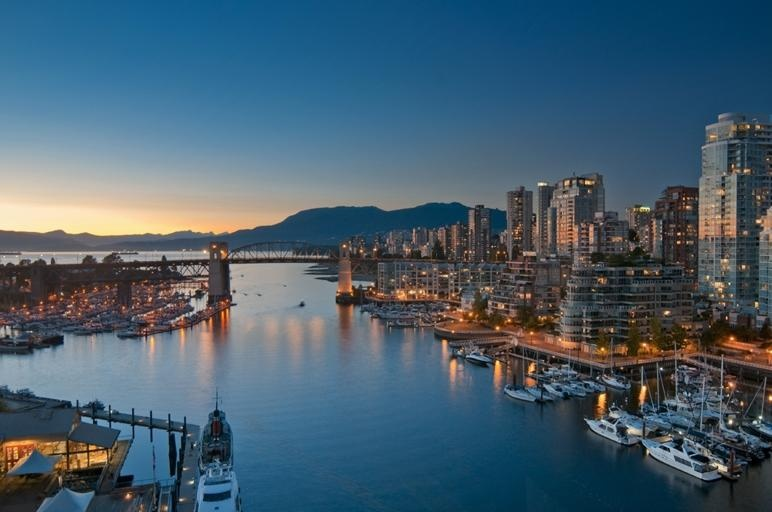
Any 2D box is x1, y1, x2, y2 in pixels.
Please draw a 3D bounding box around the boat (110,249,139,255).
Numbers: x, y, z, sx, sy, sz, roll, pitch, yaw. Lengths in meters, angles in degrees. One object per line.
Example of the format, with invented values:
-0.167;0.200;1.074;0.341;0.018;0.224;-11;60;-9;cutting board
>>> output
-132.567;-2.039;365.879;10.611;3.585;14.852;1;-1;-22;boat
